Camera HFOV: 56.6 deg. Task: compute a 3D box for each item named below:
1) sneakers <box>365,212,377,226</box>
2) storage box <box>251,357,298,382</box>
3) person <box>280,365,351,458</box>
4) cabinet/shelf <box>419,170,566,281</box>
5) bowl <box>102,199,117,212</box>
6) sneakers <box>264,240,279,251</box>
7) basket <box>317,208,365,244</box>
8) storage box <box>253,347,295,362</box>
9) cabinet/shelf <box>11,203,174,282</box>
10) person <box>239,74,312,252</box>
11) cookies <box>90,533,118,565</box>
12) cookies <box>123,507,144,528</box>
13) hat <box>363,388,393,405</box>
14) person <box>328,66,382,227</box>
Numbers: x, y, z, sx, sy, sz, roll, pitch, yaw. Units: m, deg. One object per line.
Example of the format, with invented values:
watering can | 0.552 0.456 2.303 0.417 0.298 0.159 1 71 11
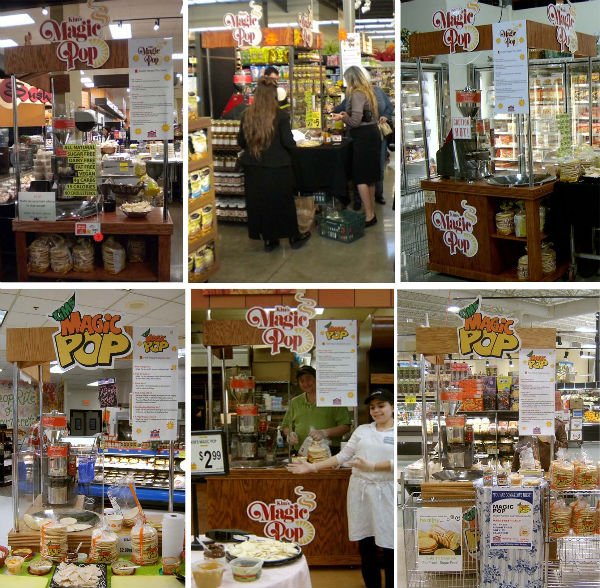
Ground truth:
sneakers | 0.753 -0.756 5.760 0.084 0.082 0.297 8 28 26
storage box | -0.178 0.473 4.045 0.325 0.228 0.179 0 22 0
person | 0.104 0.908 4.073 0.526 0.778 0.423 -4 -19 5
cabinet/shelf | 1.757 -0.596 4.844 0.692 0.806 1.150 -23 24 -35
bowl | -1.427 -0.661 4.201 0.084 0.079 0.082 1 -1 0
sneakers | -0.254 -0.443 5.177 0.071 0.144 0.139 6 -5 13
basket | 0.421 -0.637 5.332 0.353 0.225 0.348 -1 7 -10
storage box | -0.202 0.435 3.958 0.293 0.087 0.110 2 -18 2
cabinet/shelf | -1.532 -0.359 4.189 1.283 0.538 0.444 -5 25 -1
person | -0.250 -1.157 5.099 0.572 1.489 0.581 -6 24 -1
cookies | -1.060 1.382 3.102 0.150 0.146 0.147 3 4 -3
cookies | -0.990 1.326 3.350 0.087 0.038 0.100 2 13 5
hat | 0.542 0.664 3.657 0.104 0.070 0.142 -9 -20 36
person | 0.657 -1.553 5.824 0.429 1.482 0.885 -3 25 5
